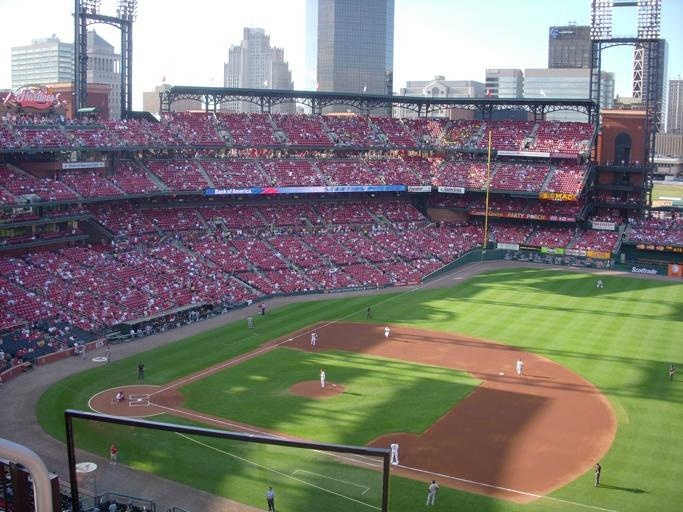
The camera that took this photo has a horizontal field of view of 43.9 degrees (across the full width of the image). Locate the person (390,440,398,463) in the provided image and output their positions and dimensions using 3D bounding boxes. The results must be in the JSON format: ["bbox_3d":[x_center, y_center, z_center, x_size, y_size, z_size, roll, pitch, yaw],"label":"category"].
[{"bbox_3d":[3.388,12.769,54.943,0.490,1.369,0.996,1,10,4],"label":"person"}]

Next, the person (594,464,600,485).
[{"bbox_3d":[15.964,13.692,53.301,0.416,1.281,1.518,3,10,17],"label":"person"}]

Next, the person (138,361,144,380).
[{"bbox_3d":[-15.589,8.935,65.643,0.418,1.142,1.296,-2,10,-13],"label":"person"}]

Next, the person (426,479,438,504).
[{"bbox_3d":[5.431,14.358,51.535,0.624,1.332,1.647,2,10,13],"label":"person"}]
